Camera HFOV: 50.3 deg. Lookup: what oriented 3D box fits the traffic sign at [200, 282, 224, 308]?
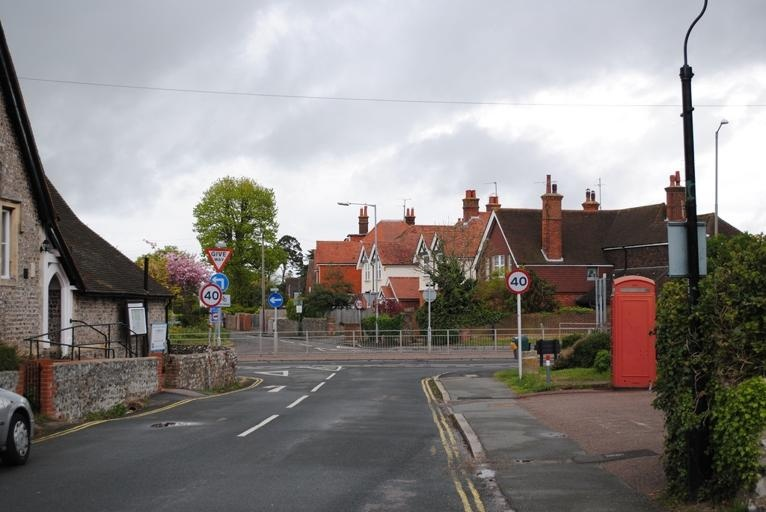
[{"bbox_3d":[-5.815,1.318,27.615,0.683,0.773,0.826,-2,-7,-15],"label":"traffic sign"}]
